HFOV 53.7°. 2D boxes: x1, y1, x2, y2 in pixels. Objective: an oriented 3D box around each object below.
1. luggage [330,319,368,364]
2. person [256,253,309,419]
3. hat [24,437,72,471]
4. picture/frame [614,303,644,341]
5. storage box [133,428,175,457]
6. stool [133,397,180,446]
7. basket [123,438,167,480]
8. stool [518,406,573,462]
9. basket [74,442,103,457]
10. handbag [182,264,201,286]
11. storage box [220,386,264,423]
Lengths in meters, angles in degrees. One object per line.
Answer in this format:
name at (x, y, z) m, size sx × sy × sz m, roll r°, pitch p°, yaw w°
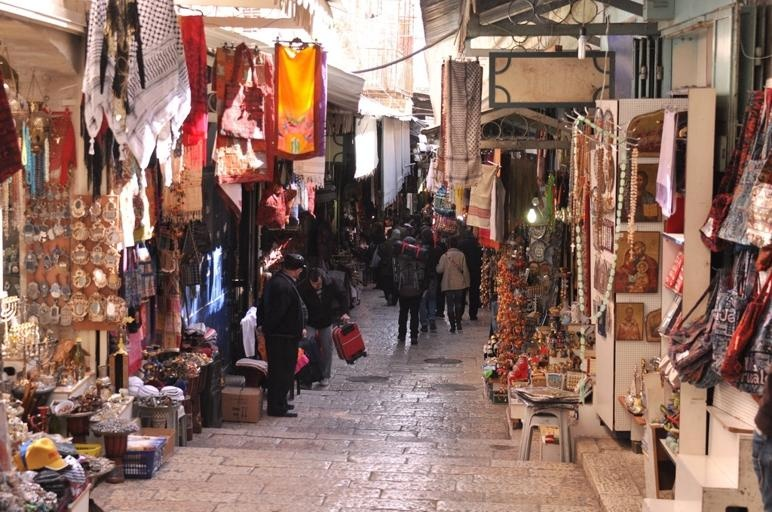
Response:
luggage at (-0.570, 1.356, 12.212) m, size 0.396 × 0.645 × 0.245 m, roll -25°, pitch 20°, yaw -19°
person at (-1.385, 1.066, 10.285) m, size 0.603 × 2.162 × 0.518 m, roll 0°, pitch 2°, yaw -10°
hat at (-2.702, 1.585, 6.092) m, size 0.274 × 0.184 × 0.203 m, roll 1°, pitch 7°, yaw 1°
picture/frame at (2.440, 0.635, 7.631) m, size 0.319 × 0.491 × 0.017 m, roll 1°, pitch 0°, yaw -1°
storage box at (-2.426, 1.950, 8.148) m, size 0.285 × 0.116 × 0.330 m, roll 5°, pitch 2°, yaw 9°
stool at (-2.502, 1.753, 8.332) m, size 0.430 × 0.531 × 0.445 m, roll 0°, pitch 2°, yaw -23°
basket at (-2.408, 2.000, 7.594) m, size 0.339 × 0.326 × 0.389 m, roll 1°, pitch 3°, yaw 2°
stool at (1.716, 1.858, 8.354) m, size 0.528 × 0.770 × 0.568 m, roll 1°, pitch -1°, yaw 3°
basket at (-2.786, 1.812, 7.172) m, size 0.249 × 0.114 × 0.197 m, roll 2°, pitch 2°, yaw -3°
handbag at (-2.575, 0.223, 10.124) m, size 0.247 × 0.280 × 0.124 m, roll 0°, pitch 3°, yaw -23°
storage box at (-1.886, 1.947, 9.984) m, size 0.507 × 0.413 × 0.244 m, roll 1°, pitch 2°, yaw 4°
